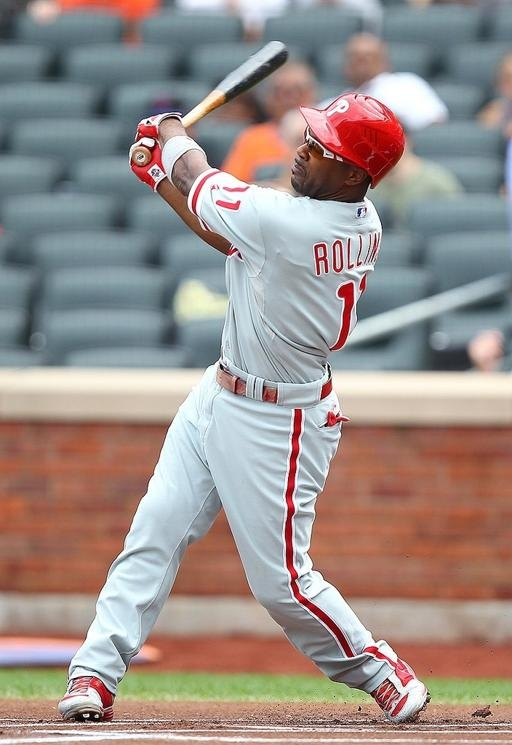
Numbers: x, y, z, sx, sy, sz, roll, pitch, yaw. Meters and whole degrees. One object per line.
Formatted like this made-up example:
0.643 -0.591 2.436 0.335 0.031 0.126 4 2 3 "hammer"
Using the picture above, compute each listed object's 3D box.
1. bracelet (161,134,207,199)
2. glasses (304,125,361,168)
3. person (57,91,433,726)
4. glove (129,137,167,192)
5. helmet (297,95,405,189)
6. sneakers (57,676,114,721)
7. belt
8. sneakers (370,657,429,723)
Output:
-0.169 -0.476 2.543 0.108 0.145 0.068 -16 -12 -6 "bracelet"
0.170 -0.487 2.418 0.112 0.028 0.087 22 12 -25 "glasses"
-0.055 0.104 2.591 0.845 1.471 0.615 -4 22 -7 "person"
-0.268 -0.510 2.695 0.059 0.128 0.103 -22 -15 -32 "glove"
0.223 -0.536 2.433 0.245 0.123 0.172 36 24 -16 "helmet"
-0.392 0.760 2.539 0.094 0.135 0.101 4 21 12 "sneakers"
0.042 0.026 2.550 0.268 0.087 0.119 -1 19 0 "belt"
0.351 0.761 2.740 0.116 0.070 0.216 28 13 -7 "sneakers"
